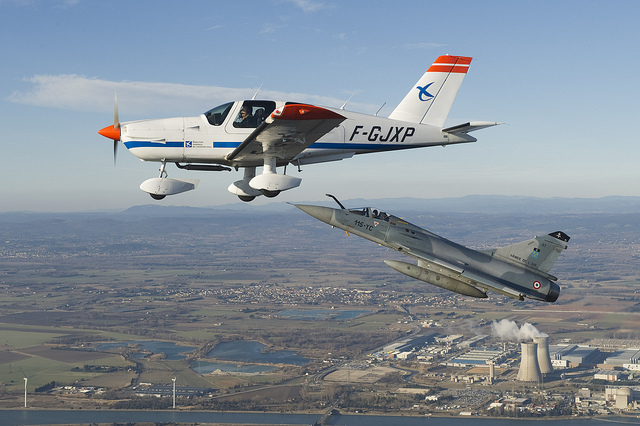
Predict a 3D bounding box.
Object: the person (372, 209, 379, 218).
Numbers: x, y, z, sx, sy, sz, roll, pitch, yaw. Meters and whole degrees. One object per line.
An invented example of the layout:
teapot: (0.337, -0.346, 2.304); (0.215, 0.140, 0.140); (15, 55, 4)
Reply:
person: (4.888, 0.081, 62.307); (0.564, 0.724, 0.224); (3, 10, 18)

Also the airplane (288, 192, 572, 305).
airplane: (10.666, 3.677, 64.127); (23.274, 3.913, 13.635); (10, -5, 0)
